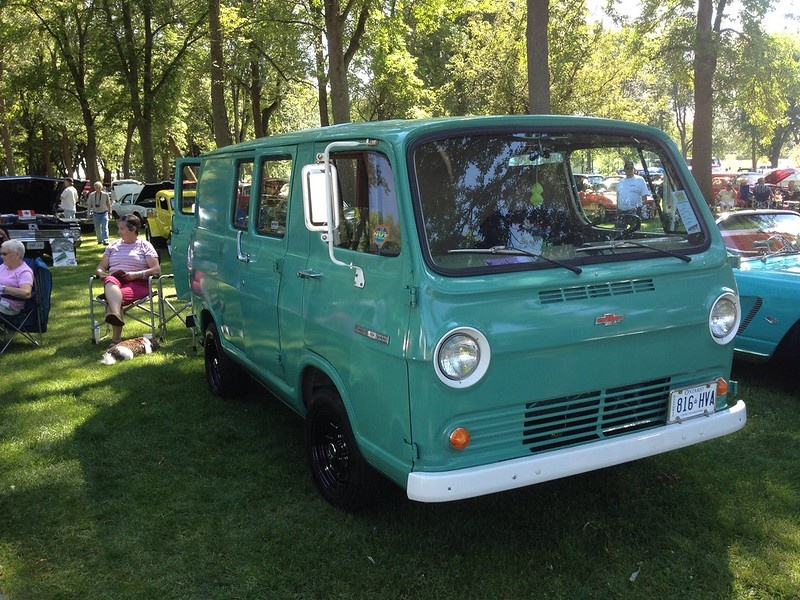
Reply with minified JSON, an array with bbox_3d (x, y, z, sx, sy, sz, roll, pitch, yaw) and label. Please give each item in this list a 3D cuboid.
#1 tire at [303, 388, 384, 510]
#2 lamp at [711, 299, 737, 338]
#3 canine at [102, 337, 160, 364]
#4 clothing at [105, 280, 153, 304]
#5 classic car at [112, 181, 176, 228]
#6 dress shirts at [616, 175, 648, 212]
[{"bbox_3d":[-0.443,1.134,4.712,0.291,0.989,0.898,-8,-13,-38],"label":"tire"},{"bbox_3d":[2.322,0.134,4.356,0.215,0.292,0.100,-5,9,-20],"label":"lamp"},{"bbox_3d":[-3.758,0.703,8.412,0.377,0.209,0.854,4,12,37],"label":"canine"},{"bbox_3d":[-3.845,-0.120,8.752,0.392,0.331,0.229,-10,11,-35],"label":"clothing"},{"bbox_3d":[-10.040,-3.513,23.036,1.861,1.003,1.151,9,7,26],"label":"classic car"},{"bbox_3d":[1.795,-0.827,4.682,0.146,0.275,0.248,-3,3,-44],"label":"dress shirts"}]
